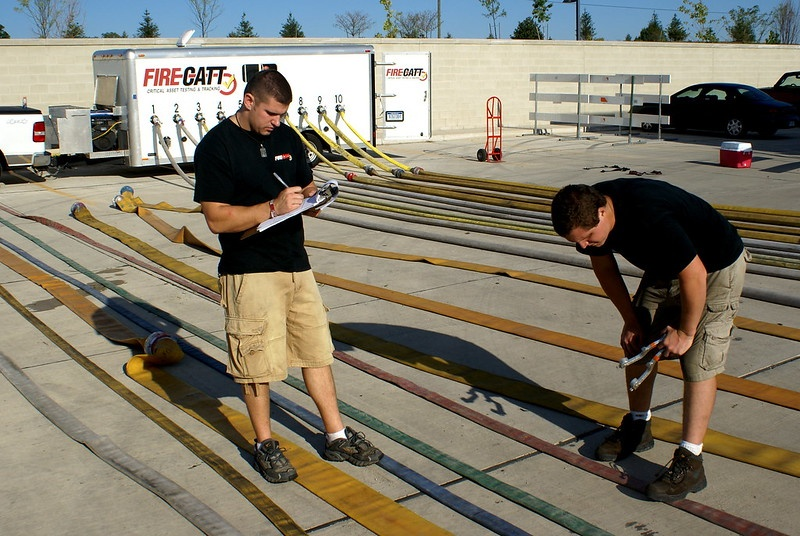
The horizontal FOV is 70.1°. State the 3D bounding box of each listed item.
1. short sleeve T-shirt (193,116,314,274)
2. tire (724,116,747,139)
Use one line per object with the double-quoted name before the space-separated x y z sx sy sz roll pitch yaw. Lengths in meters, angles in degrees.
"short sleeve T-shirt" -0.890 -0.447 3.596 0.775 0.962 0.389 -9 16 -22
"tire" 11.576 -4.828 19.498 0.626 0.548 0.263 29 40 31
